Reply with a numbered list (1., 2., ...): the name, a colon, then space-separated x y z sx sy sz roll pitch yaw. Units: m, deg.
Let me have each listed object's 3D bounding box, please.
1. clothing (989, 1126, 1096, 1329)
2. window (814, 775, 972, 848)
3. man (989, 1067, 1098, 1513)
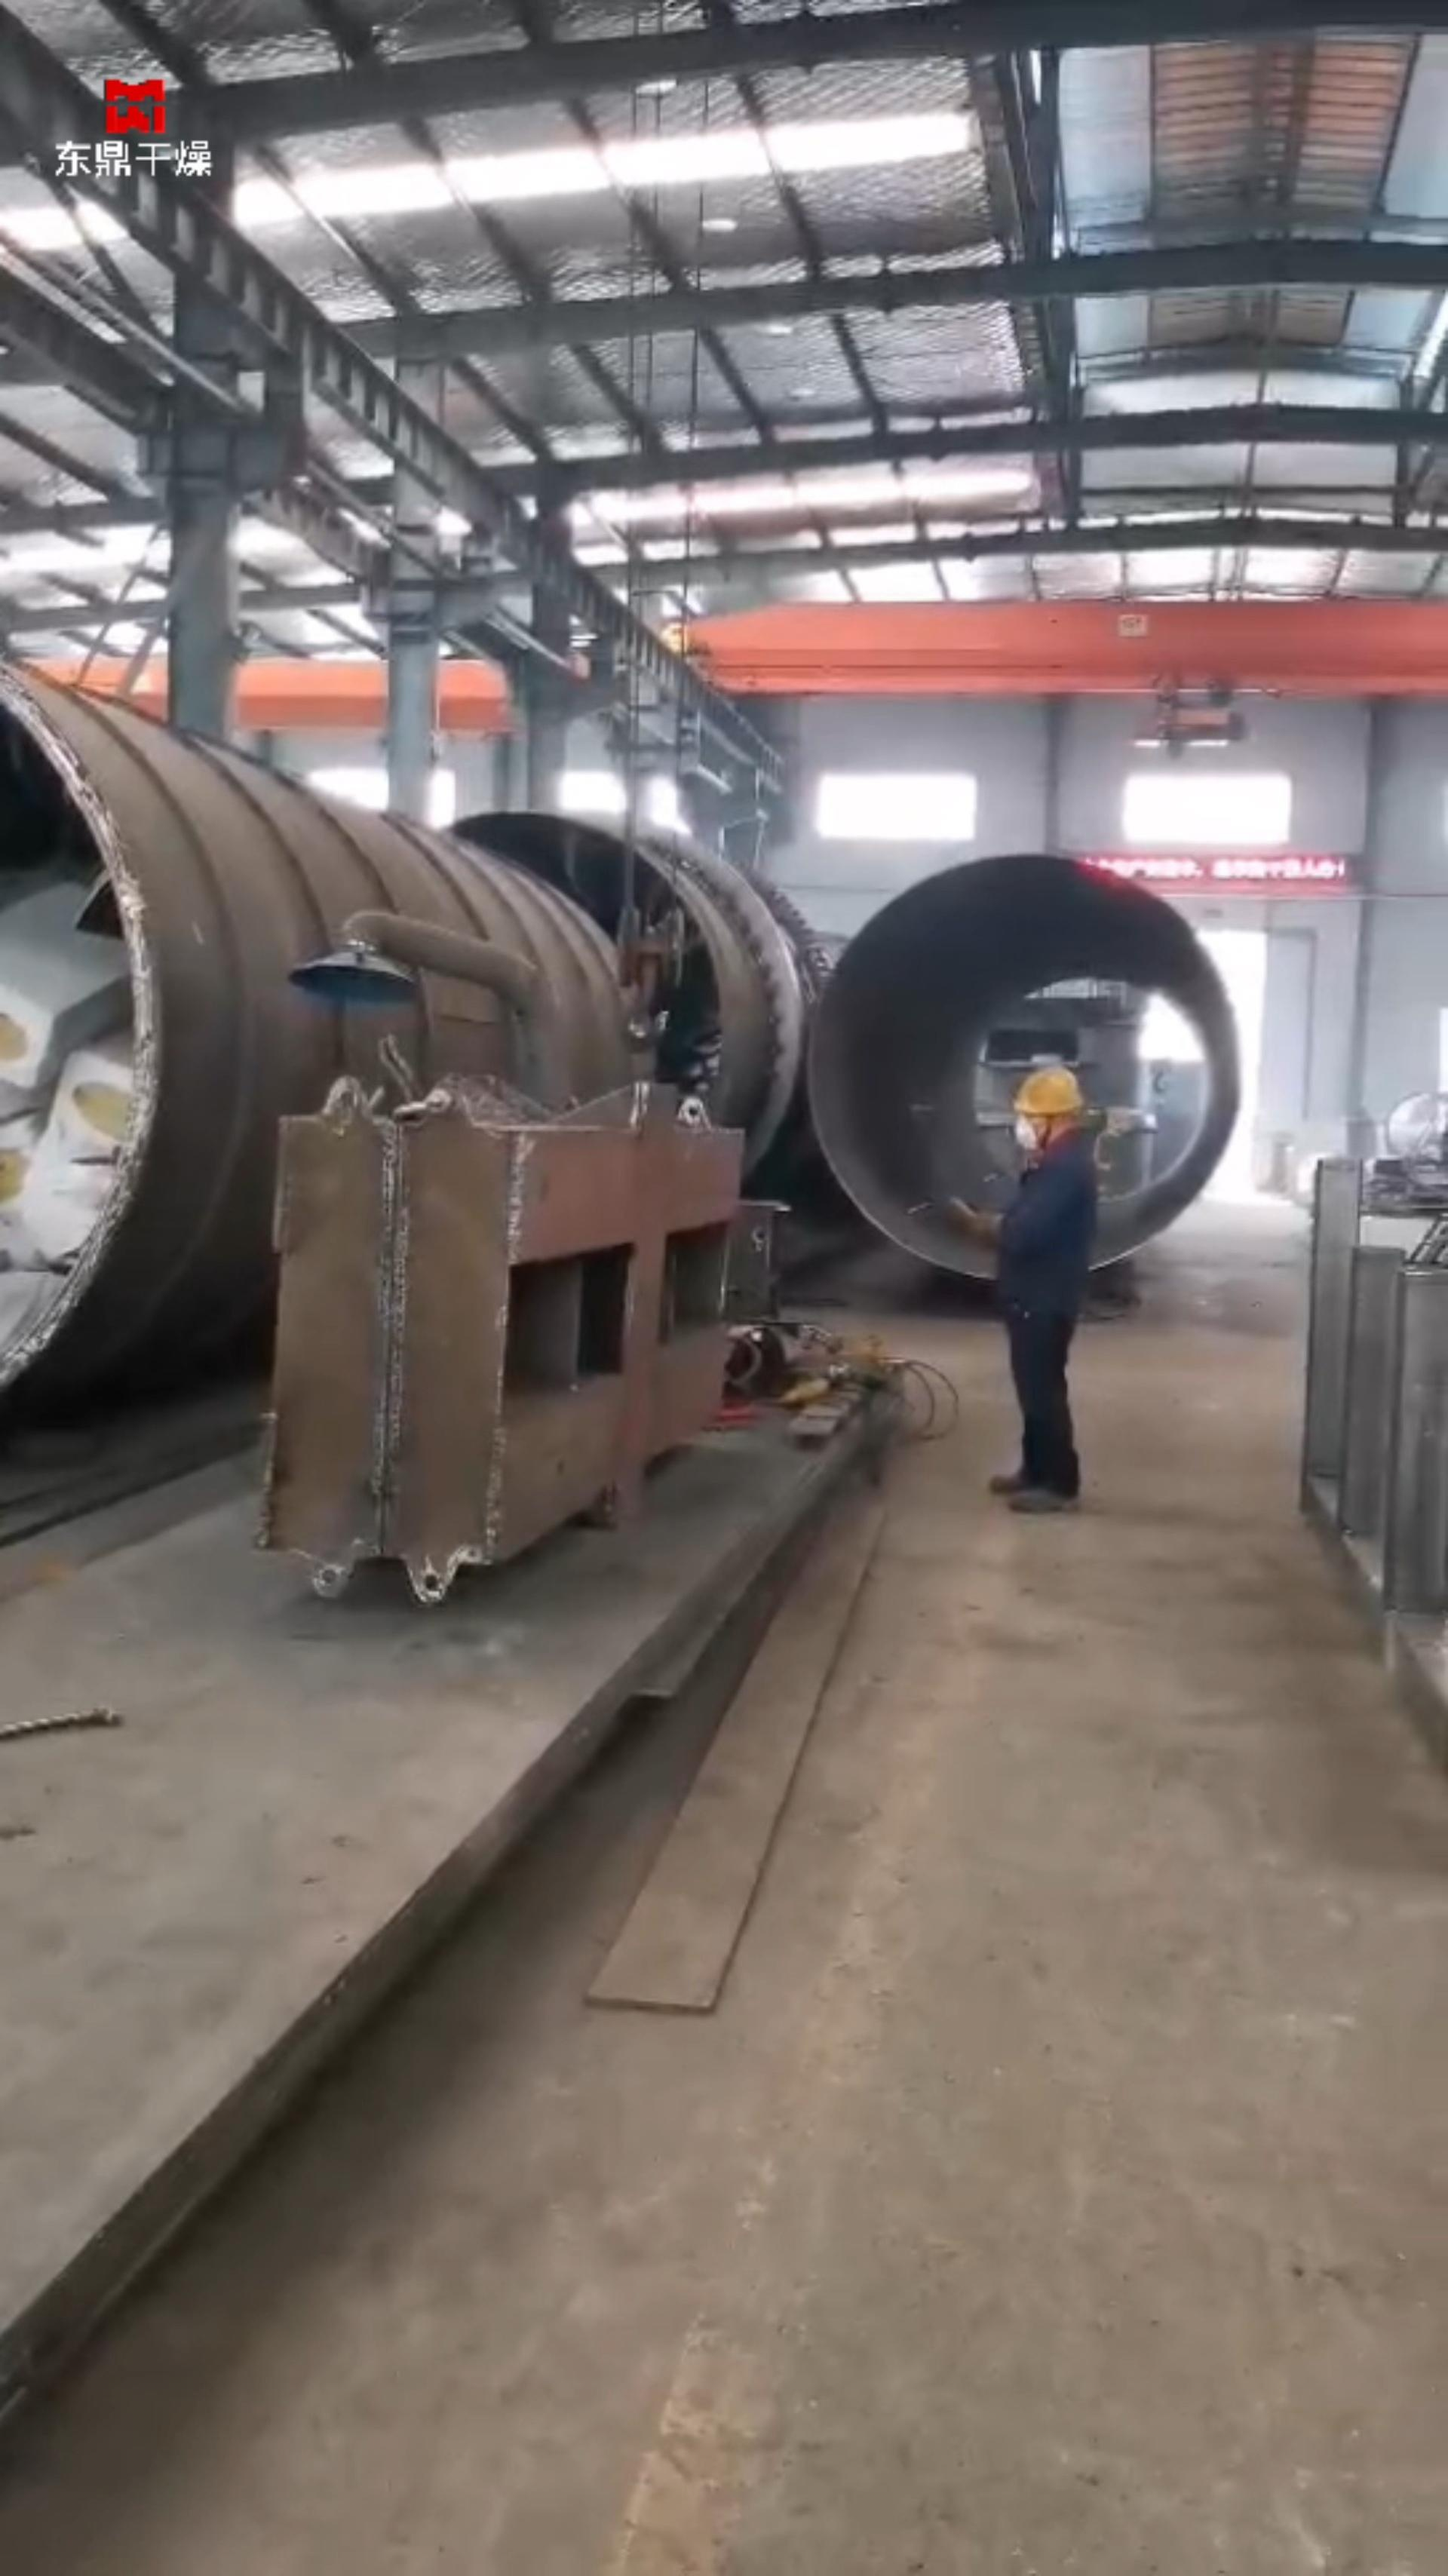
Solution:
1. clothing: 0.769 -0.162 4.102 0.207 0.451 0.215 1 5 9
2. window: 1.644 -4.655 16.576 1.245 0.745 0.300 -2 8 -4
3. man: 0.729 0.010 4.122 0.219 0.994 0.306 5 11 5
